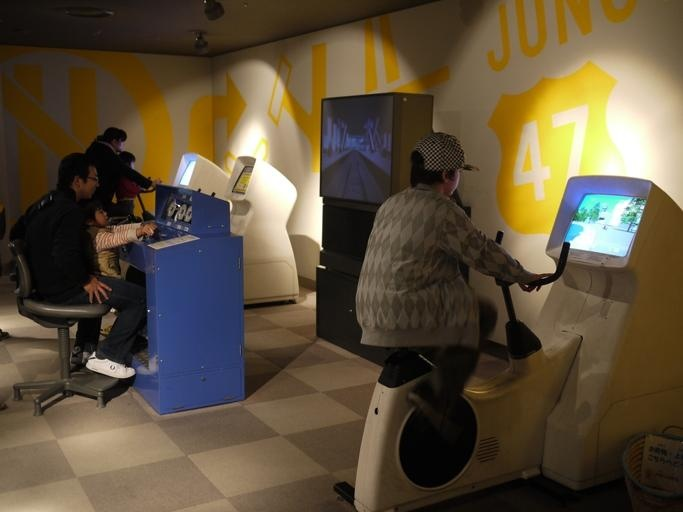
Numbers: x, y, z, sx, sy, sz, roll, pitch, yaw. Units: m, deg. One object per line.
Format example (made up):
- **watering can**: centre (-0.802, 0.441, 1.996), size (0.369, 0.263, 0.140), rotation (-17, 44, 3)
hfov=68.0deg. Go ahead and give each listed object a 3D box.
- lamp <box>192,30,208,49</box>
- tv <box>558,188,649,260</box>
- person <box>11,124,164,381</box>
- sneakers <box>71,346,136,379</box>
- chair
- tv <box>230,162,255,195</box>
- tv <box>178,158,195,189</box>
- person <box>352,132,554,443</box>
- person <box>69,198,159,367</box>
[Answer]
- **lamp**: centre (-1.970, -2.978, 7.030), size (0.172, 0.208, 0.470), rotation (-2, 11, -15)
- **tv**: centre (1.512, -0.156, 2.882), size (0.226, 0.449, 0.434), rotation (18, -3, -39)
- **person**: centre (-1.996, 0.014, 3.919), size (0.994, 1.862, 0.770), rotation (-6, 10, -44)
- **sneakers**: centre (-1.839, 0.826, 3.921), size (0.501, 0.227, 0.185), rotation (10, 10, -1)
- **chair**: centre (-2.109, 0.495, 3.838), size (0.702, 1.170, 0.707), rotation (0, 2, -20)
- **tv**: centre (-1.193, -0.924, 6.076), size (0.080, 0.370, 0.337), rotation (24, -10, -41)
- **tv**: centre (-2.041, -1.114, 6.652), size (0.203, 0.328, 0.788), rotation (-3, 11, -18)
- **person**: centre (0.515, 0.121, 2.629), size (0.841, 1.436, 0.610), rotation (-5, 9, -27)
- **person**: centre (-1.738, -0.060, 3.759), size (0.581, 1.088, 0.489), rotation (-18, 25, -33)
